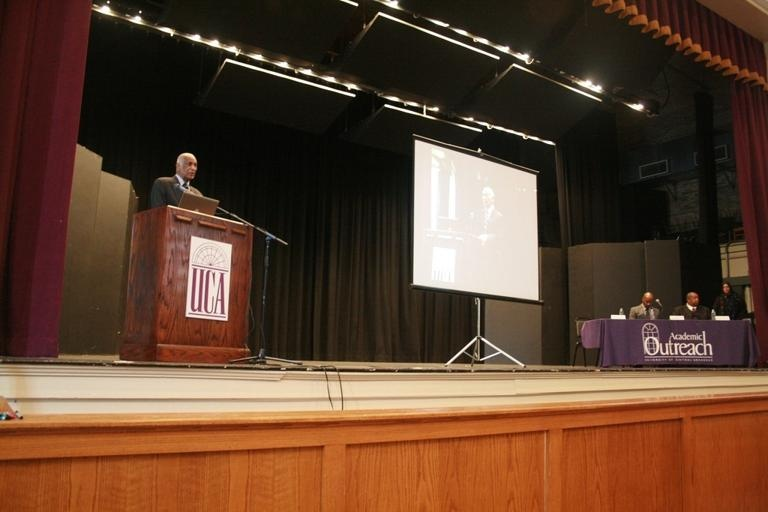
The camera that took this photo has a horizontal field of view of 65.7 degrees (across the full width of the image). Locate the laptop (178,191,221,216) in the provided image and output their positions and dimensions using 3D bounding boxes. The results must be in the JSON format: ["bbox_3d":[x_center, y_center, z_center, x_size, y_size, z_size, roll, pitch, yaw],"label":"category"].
[{"bbox_3d":[-1.313,-0.374,4.096,0.218,0.181,0.152,15,10,-38],"label":"laptop"}]

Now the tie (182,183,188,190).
[{"bbox_3d":[-1.673,-0.568,4.961,0.019,0.069,0.046,-10,-4,30],"label":"tie"}]

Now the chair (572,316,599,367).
[{"bbox_3d":[2.962,1.283,8.811,0.356,0.617,0.339,13,10,40],"label":"chair"}]

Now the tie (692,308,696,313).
[{"bbox_3d":[3.783,0.679,7.234,0.012,0.041,0.036,-3,18,21],"label":"tie"}]

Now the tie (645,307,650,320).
[{"bbox_3d":[3.148,0.703,7.088,0.038,0.059,0.140,-4,-23,20],"label":"tie"}]
